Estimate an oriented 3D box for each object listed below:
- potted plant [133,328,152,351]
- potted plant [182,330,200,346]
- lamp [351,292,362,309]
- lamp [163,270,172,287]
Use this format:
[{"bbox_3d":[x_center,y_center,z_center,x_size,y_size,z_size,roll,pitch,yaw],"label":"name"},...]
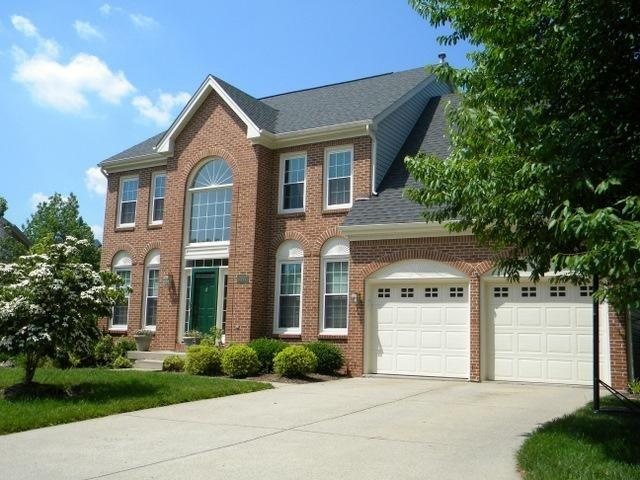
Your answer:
[{"bbox_3d":[-7.320,4.109,21.522,0.721,0.583,0.749,-1,-15,-2],"label":"potted plant"},{"bbox_3d":[-5.026,3.830,20.366,0.653,0.695,0.583,3,-7,-8],"label":"potted plant"},{"bbox_3d":[1.280,2.081,17.985,0.484,0.736,0.461,-1,-6,-2],"label":"lamp"},{"bbox_3d":[-6.456,1.624,21.821,0.581,0.664,0.269,-4,-7,34],"label":"lamp"}]
